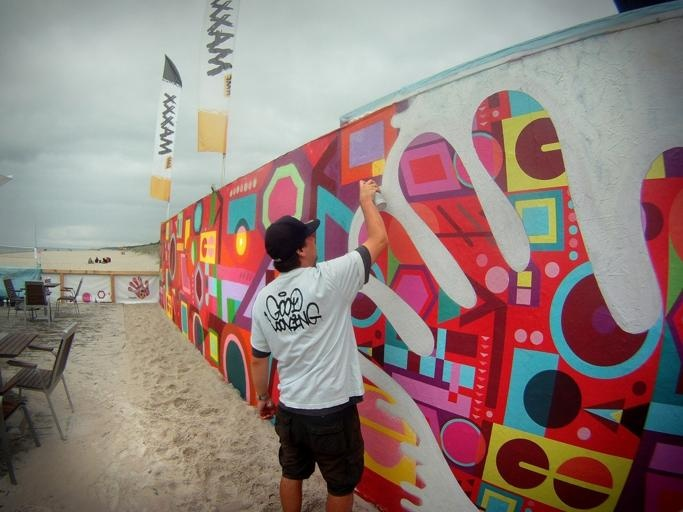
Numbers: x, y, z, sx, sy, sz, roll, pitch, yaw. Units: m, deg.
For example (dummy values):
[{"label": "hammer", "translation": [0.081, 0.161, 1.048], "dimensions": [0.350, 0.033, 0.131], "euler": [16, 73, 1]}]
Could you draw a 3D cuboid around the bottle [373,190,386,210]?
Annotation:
[{"label": "bottle", "translation": [0.296, -0.447, 3.591], "dimensions": [0.104, 0.161, 0.147], "euler": [1, 19, 4]}]

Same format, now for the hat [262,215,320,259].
[{"label": "hat", "translation": [-0.372, -0.138, 3.354], "dimensions": [0.376, 0.201, 0.235], "euler": [-46, 37, -18]}]
